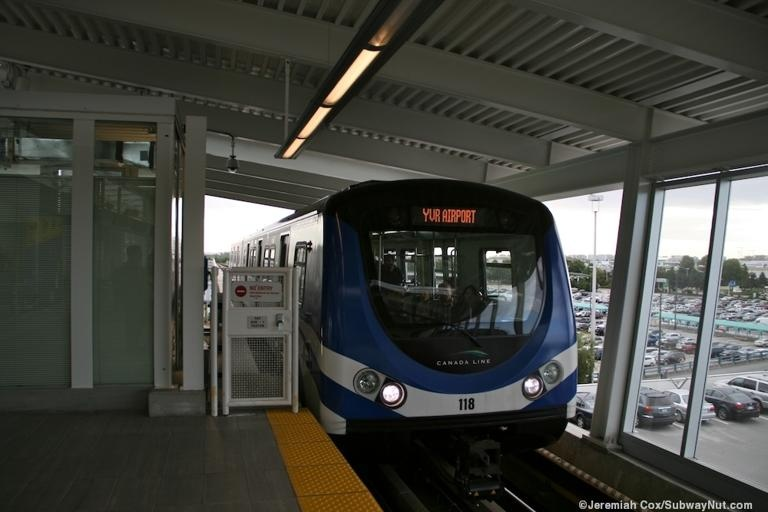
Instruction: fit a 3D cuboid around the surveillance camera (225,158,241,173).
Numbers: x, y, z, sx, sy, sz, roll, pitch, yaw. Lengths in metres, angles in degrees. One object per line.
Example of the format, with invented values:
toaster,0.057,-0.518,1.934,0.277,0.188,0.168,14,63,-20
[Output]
surveillance camera,-3.931,-2.402,13.862,0.243,0.422,0.777,-2,14,-12
